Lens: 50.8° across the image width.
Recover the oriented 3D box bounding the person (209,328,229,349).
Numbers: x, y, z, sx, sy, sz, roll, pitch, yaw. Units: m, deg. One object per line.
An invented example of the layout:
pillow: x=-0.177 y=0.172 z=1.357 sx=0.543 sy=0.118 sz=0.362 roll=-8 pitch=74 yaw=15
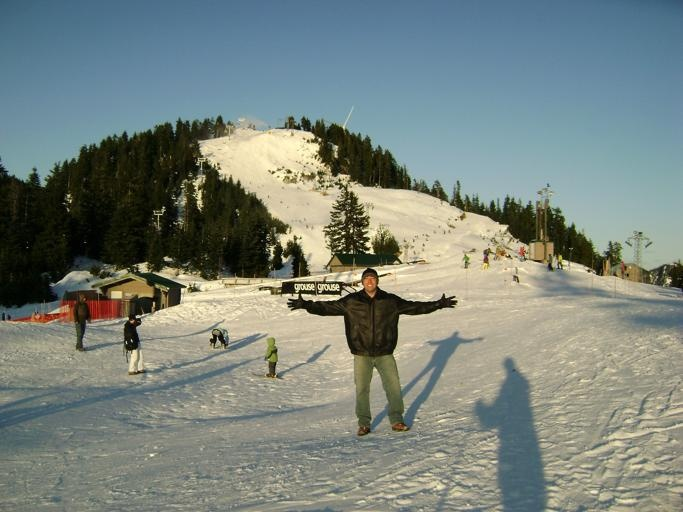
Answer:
person: x=-5.707 y=3.866 z=33.313 sx=0.722 sy=0.494 sz=0.842 roll=10 pitch=-37 yaw=-8

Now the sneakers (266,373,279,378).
sneakers: x=-2.466 y=4.245 z=25.424 sx=0.414 sy=0.189 sz=0.154 roll=6 pitch=-2 yaw=15

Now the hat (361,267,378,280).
hat: x=0.648 y=0.387 z=16.473 sx=0.254 sy=0.267 sz=0.282 roll=2 pitch=-24 yaw=0

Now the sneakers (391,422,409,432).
sneakers: x=1.368 y=4.037 z=16.905 sx=0.372 sy=0.167 sz=0.173 roll=-7 pitch=-7 yaw=25
